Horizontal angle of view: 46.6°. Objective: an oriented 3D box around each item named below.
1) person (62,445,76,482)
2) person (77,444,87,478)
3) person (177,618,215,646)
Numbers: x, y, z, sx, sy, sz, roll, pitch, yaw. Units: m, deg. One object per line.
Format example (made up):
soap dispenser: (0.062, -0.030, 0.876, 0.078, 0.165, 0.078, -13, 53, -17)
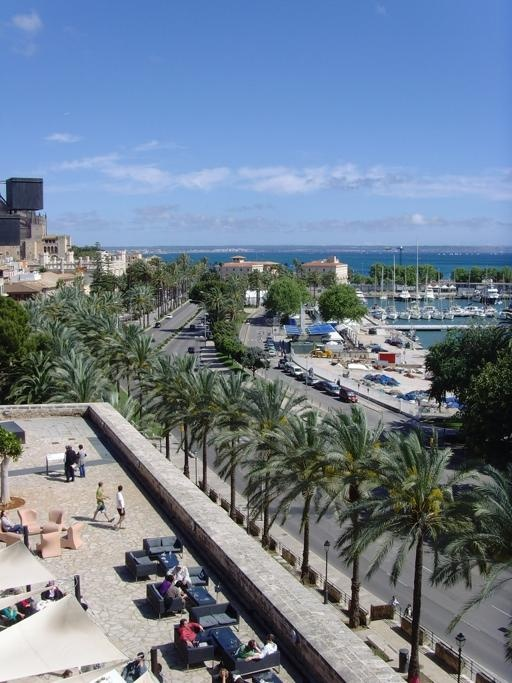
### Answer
person: (-6.578, 4.286, 20.935, 0.410, 1.118, 1.151, 0, 0, -17)
person: (-6.372, 4.292, 21.493, 0.264, 1.046, 1.246, 0, 0, -15)
person: (-1.071, 5.020, 10.135, 0.576, 0.384, 0.763, 0, 0, -7)
